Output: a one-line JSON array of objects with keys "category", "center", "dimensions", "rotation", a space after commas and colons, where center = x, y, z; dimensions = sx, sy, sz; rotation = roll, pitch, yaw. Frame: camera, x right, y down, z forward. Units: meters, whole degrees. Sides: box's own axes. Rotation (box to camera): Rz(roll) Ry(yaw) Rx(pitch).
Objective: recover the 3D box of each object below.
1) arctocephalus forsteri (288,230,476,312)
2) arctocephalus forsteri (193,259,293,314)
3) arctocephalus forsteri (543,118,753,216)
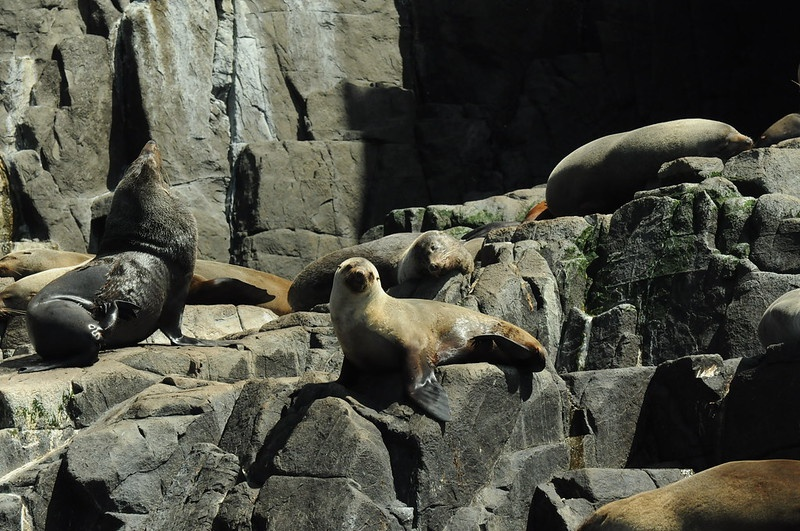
[{"category": "arctocephalus forsteri", "center": [-0.320, 0.034, 21.902], "dimensions": [1.938, 0.565, 1.407], "rotation": [-27, 7, 27]}, {"category": "arctocephalus forsteri", "center": [-2.513, 0.336, 23.397], "dimensions": [1.180, 0.383, 0.918], "rotation": [5, -3, 12]}, {"category": "arctocephalus forsteri", "center": [3.632, -1.441, 22.860], "dimensions": [2.644, 0.839, 1.382], "rotation": [-22, -9, 29]}]
